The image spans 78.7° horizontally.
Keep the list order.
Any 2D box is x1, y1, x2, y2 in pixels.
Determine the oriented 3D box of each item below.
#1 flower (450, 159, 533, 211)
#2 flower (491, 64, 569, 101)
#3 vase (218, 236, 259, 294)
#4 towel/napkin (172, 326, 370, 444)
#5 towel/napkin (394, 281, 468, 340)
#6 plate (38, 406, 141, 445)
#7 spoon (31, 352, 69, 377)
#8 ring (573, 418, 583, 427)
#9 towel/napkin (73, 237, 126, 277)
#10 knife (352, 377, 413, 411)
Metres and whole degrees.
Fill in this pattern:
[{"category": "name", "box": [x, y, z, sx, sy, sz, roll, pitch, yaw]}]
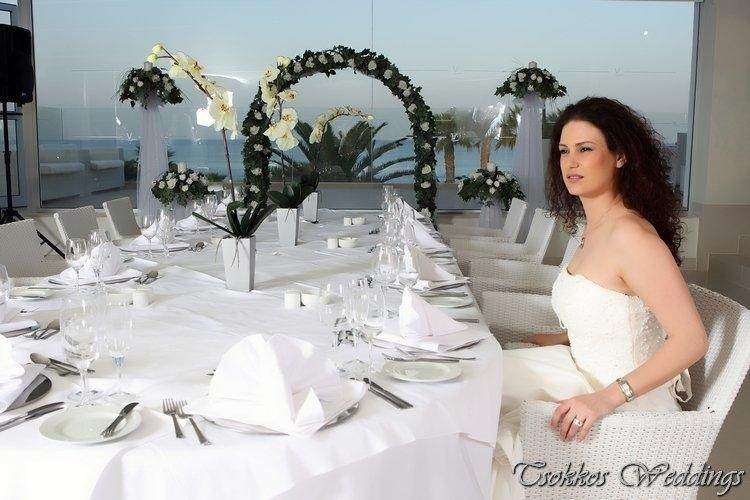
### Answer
[{"category": "flower", "box": [1.599, -0.856, 6.240, 0.786, 0.636, 0.797, 2, 8, 2]}, {"category": "flower", "box": [2.253, -2.407, 6.507, 0.811, 0.475, 0.826, 8, 10, 35]}, {"category": "vase", "box": [-0.699, 0.070, 2.298, 0.232, 0.273, 0.240, 6, 11, 30]}, {"category": "towel/napkin", "box": [-0.165, 0.375, 1.247, 0.287, 0.099, 0.283, 0, 19, 35]}, {"category": "towel/napkin", "box": [0.196, 0.227, 1.682, 0.221, 0.120, 0.160, 1, 6, 7]}, {"category": "plate", "box": [-0.705, 0.430, 1.133, 0.234, 0.033, 0.148, -3, 11, -4]}, {"category": "spoon", "box": [-1.008, 0.354, 1.411, 0.152, 0.021, 0.041, 25, 19, 4]}, {"category": "ring", "box": [0.679, 0.575, 1.528, 0.028, 0.026, 0.007, 1, 13, 13]}, {"category": "towel/napkin", "box": [-1.390, 0.039, 2.310, 0.171, 0.142, 0.193, -4, -2, 0]}, {"category": "knife", "box": [0.021, 0.414, 1.311, 0.025, 0.005, 0.175, -9, 16, -28]}]
